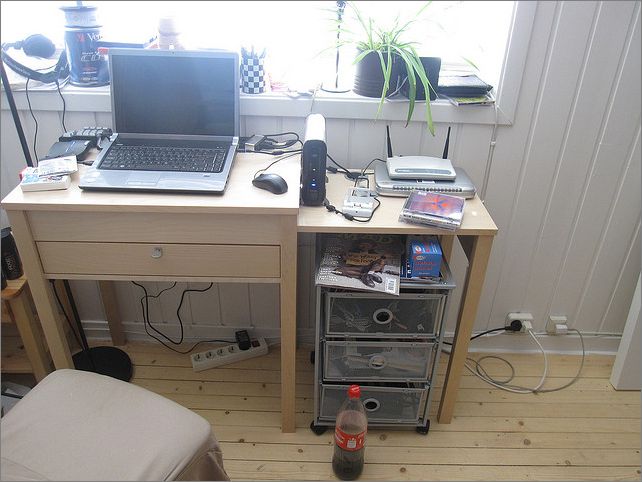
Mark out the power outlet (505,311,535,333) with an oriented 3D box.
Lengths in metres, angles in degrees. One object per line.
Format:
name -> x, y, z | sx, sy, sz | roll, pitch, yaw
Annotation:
power outlet -> 0.969, 0.433, 2.458 | 0.154, 0.109, 0.084 | 1, 27, 6

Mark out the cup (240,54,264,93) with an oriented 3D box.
cup -> -0.277, -0.680, 2.046 | 0.100, 0.134, 0.123 | -3, 41, -5

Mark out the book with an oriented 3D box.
book -> 0.145, 0.077, 1.863 | 0.333, 0.050, 0.343 | 2, 32, 4

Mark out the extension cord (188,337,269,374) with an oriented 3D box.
extension cord -> -0.443, 0.545, 2.360 | 0.398, 0.099, 0.104 | -8, 46, -14

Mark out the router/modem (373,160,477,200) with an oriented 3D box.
router/modem -> 0.387, -0.228, 1.920 | 0.242, 0.043, 0.202 | 7, 31, 2

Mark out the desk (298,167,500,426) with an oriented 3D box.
desk -> 0.248, 0.219, 2.294 | 0.812, 1.027, 0.731 | 1, 29, -5

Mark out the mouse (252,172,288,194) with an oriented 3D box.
mouse -> -0.174, -0.218, 1.774 | 0.111, 0.037, 0.064 | 21, 37, 23

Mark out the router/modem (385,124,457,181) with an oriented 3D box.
router/modem -> 0.386, -0.302, 1.995 | 0.307, 0.208, 0.217 | 0, 36, -2

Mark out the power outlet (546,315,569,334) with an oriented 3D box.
power outlet -> 1.141, 0.412, 2.415 | 0.094, 0.094, 0.088 | 1, 32, 5
